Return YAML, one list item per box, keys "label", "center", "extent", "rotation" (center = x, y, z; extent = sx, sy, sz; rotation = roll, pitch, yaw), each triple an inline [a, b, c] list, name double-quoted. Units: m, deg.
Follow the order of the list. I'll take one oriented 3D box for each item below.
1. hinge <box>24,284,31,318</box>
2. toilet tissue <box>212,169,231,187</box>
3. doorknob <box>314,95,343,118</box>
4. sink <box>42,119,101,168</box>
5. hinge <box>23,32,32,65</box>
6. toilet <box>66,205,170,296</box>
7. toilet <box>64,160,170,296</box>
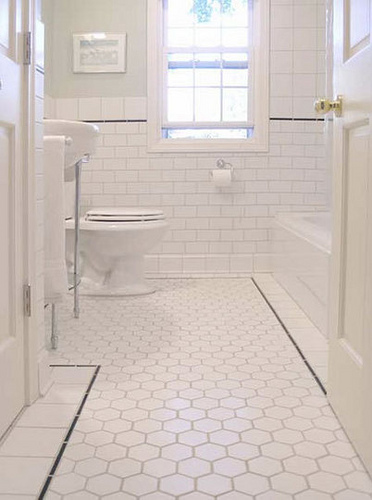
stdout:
- label: "hinge"
  center: [-0.432, 0.137, 1.117]
  extent: [0.009, 0.091, 0.021]
  rotation: [2, 5, 20]
- label: "toilet tissue"
  center: [0.256, -0.512, 2.932]
  extent: [0.139, 0.120, 0.102]
  rotation: [1, 6, 5]
- label: "doorknob"
  center: [0.368, -0.379, 1.072]
  extent: [0.068, 0.053, 0.048]
  rotation: [1, 25, 4]
- label: "sink"
  center: [-0.472, -0.430, 1.703]
  extent: [0.214, 0.174, 0.213]
  rotation: [-1, 11, -12]
- label: "hinge"
  center: [-0.419, -0.533, 1.080]
  extent: [0.027, 0.086, 0.017]
  rotation: [-4, 6, -42]
- label: "toilet"
  center: [-0.391, 0.002, 2.428]
  extent: [0.584, 0.440, 0.507]
  rotation: [3, 7, -1]
- label: "toilet"
  center: [-0.433, -0.069, 2.715]
  extent: [0.791, 0.865, 0.527]
  rotation: [0, 8, -7]
